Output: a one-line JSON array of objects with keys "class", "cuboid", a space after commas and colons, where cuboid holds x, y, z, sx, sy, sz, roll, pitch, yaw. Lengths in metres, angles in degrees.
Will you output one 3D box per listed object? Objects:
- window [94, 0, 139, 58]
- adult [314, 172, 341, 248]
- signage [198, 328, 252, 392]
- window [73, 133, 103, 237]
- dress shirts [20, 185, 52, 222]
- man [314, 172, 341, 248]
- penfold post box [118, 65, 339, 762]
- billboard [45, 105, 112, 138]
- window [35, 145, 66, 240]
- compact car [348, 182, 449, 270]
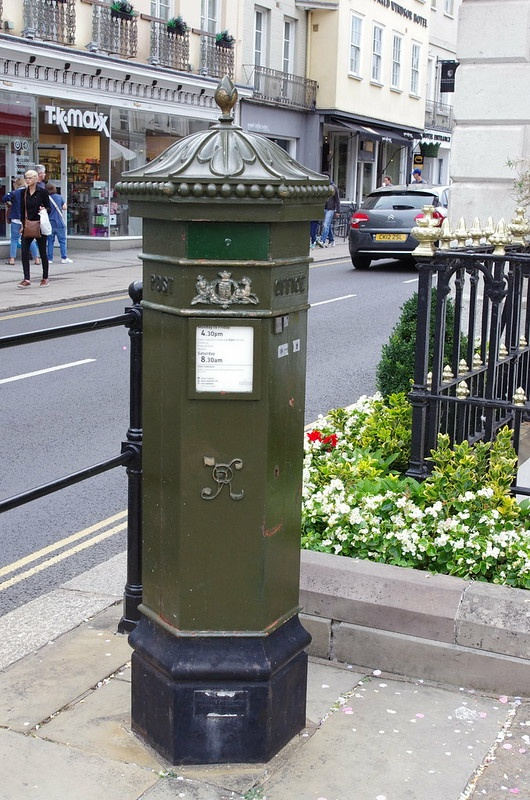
[{"class": "window", "cuboid": [-3.554, -8.808, 21.729, 0.124, 1.149, 1.771, 5, 12, 22]}, {"class": "adult", "cuboid": [1.638, -5.224, 25.068, 0.680, 1.985, 0.643, -2, 19, -13]}, {"class": "signage", "cuboid": [-0.100, -0.107, 2.222, 0.139, 0.172, 0.015, 0, 9, -5]}, {"class": "window", "cuboid": [-4.434, -5.343, 22.695, 0.920, 2.421, 0.293, 3, 9, 19]}, {"class": "dress shirts", "cuboid": [-3.760, -3.221, 15.009, 0.430, 0.583, 0.569, -3, 9, -17]}, {"class": "man", "cuboid": [1.677, -5.236, 25.051, 0.682, 2.022, 0.723, 6, 18, 11]}, {"class": "penfold post box", "cuboid": [-0.088, 0.072, 2.372, 0.551, 1.761, 0.402, -2, 8, -10]}, {"class": "billboard", "cuboid": [-4.469, -6.600, 21.642, 0.497, 0.579, 2.187, 4, 10, 27]}, {"class": "window", "cuboid": [-5.176, -5.231, 22.290, 0.723, 2.130, 0.140, -1, -13, -8]}, {"class": "compact car", "cuboid": [2.648, -3.623, 18.532, 1.811, 1.511, 2.032, 0, 9, 5]}]
